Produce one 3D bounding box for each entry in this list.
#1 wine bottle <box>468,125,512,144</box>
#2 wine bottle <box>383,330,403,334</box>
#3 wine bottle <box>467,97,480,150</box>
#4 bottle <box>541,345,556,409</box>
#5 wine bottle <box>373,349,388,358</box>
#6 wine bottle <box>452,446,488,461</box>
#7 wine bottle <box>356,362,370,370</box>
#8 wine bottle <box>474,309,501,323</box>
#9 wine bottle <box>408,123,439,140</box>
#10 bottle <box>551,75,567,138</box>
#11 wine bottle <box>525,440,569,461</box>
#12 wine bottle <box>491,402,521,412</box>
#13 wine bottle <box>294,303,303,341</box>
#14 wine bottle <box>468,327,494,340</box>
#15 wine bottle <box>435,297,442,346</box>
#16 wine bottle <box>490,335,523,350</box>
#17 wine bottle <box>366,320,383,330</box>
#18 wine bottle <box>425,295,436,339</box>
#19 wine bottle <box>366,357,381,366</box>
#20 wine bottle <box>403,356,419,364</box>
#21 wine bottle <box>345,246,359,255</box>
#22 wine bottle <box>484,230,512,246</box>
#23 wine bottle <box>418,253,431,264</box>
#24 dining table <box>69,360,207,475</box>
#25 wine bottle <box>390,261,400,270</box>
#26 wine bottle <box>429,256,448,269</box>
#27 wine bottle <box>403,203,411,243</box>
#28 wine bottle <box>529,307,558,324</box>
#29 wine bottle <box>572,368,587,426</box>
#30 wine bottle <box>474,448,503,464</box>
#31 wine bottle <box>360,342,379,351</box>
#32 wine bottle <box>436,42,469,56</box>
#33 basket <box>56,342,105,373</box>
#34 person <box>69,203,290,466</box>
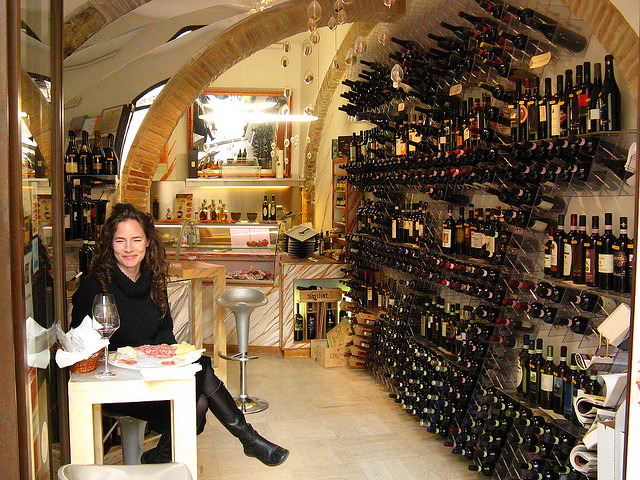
[{"bbox_3d":[1.287,-0.807,3.919,0.131,0.158,0.387,-3,8,-28],"label":"wine bottle"},{"bbox_3d":[0.765,0.959,5.293,0.094,0.022,0.101,2,0,0],"label":"wine bottle"},{"bbox_3d":[1.260,-0.958,4.217,0.092,0.448,0.113,-1,-3,-33],"label":"wine bottle"},{"bbox_3d":[1.522,0.896,3.391,0.079,0.413,0.177,3,7,24],"label":"bottle"},{"bbox_3d":[0.666,1.241,5.546,0.159,0.047,0.166,0,1,0],"label":"wine bottle"},{"bbox_3d":[1.183,1.662,3.957,0.218,0.071,0.068,10,-39,-26],"label":"wine bottle"},{"bbox_3d":[0.506,1.477,5.983,0.149,0.103,0.108,2,7,14],"label":"wine bottle"},{"bbox_3d":[1.285,0.577,3.903,0.191,0.110,0.044,5,7,32],"label":"wine bottle"},{"bbox_3d":[1.012,-1.038,4.897,0.221,0.061,0.061,19,35,0],"label":"wine bottle"},{"bbox_3d":[1.550,-0.814,3.287,0.095,0.313,0.207,3,7,20],"label":"bottle"},{"bbox_3d":[1.469,1.350,3.264,0.307,0.097,0.088,13,-35,-2],"label":"wine bottle"},{"bbox_3d":[1.346,1.198,3.651,0.054,0.059,0.235,-29,-24,32],"label":"wine bottle"},{"bbox_3d":[-0.285,1.059,6.580,0.113,0.471,0.086,-1,6,-11],"label":"wine bottle"},{"bbox_3d":[1.247,0.717,3.942,0.192,0.089,0.054,6,8,37],"label":"wine bottle"},{"bbox_3d":[1.078,0.745,4.646,0.045,0.430,0.141,1,6,6],"label":"wine bottle"},{"bbox_3d":[1.407,0.769,3.835,0.232,0.109,0.042,3,7,21],"label":"wine bottle"},{"bbox_3d":[0.635,0.960,5.784,0.200,0.135,0.114,4,7,27],"label":"wine bottle"},{"bbox_3d":[1.037,0.722,4.762,0.059,0.420,0.143,-1,6,-13],"label":"wine bottle"},{"bbox_3d":[0.614,1.383,5.780,0.164,0.041,0.040,10,34,25],"label":"wine bottle"},{"bbox_3d":[0.891,1.161,4.920,0.194,0.054,0.053,-1,-34,23],"label":"wine bottle"},{"bbox_3d":[0.406,0.125,6.322,0.071,0.095,0.422,-1,7,-10],"label":"wine bottle"},{"bbox_3d":[1.348,-0.025,3.864,0.062,0.114,0.274,-1,7,-15],"label":"wine bottle"},{"bbox_3d":[0.973,0.175,4.722,0.085,0.123,0.265,1,7,3],"label":"wine bottle"},{"bbox_3d":[-0.973,0.825,2.814,0.586,0.653,0.614,0,6,-10],"label":"dining table"},{"bbox_3d":[0.782,0.263,5.378,0.018,0.075,0.078,-2,8,-28],"label":"wine bottle"},{"bbox_3d":[1.046,0.183,4.459,0.063,0.088,0.250,-1,7,-16],"label":"wine bottle"},{"bbox_3d":[0.904,-0.168,5.266,0.039,0.407,0.148,-2,6,-21],"label":"wine bottle"},{"bbox_3d":[1.505,0.499,3.420,0.172,0.101,0.058,4,7,26],"label":"wine bottle"},{"bbox_3d":[1.603,0.957,3.132,0.073,0.336,0.182,4,7,27],"label":"wine bottle"},{"bbox_3d":[1.257,1.598,3.796,0.196,0.129,0.061,6,8,37],"label":"wine bottle"},{"bbox_3d":[0.568,1.216,5.807,0.112,0.032,0.118,0,7,0],"label":"wine bottle"},{"bbox_3d":[1.157,-1.668,4.455,0.078,0.146,0.299,-5,9,-42],"label":"wine bottle"},{"bbox_3d":[-1.214,0.622,2.599,0.144,0.109,0.125,-3,8,-31],"label":"basket"},{"bbox_3d":[-0.939,0.604,3.142,1.072,1.623,0.620,0,6,-7],"label":"person"}]
